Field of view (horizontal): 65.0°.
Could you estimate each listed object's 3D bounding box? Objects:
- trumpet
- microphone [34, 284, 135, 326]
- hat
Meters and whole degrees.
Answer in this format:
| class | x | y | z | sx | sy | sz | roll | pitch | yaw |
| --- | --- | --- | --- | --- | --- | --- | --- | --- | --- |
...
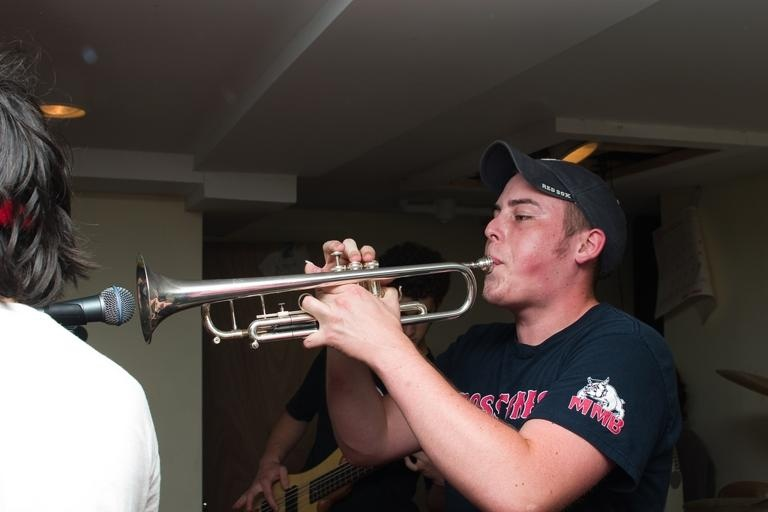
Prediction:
| class | x | y | z | sx | sy | sz | roll | pitch | yaw |
| --- | --- | --- | --- | --- | --- | --- | --- | --- | --- |
| trumpet | -0.167 | 0.131 | 1.840 | 1.086 | 0.334 | 0.321 | -8 | -2 | -8 |
| microphone | -0.599 | 0.115 | 1.158 | 0.062 | 0.072 | 0.218 | 6 | 7 | 33 |
| hat | 0.454 | -0.164 | 1.589 | 0.424 | 0.204 | 0.259 | 41 | -1 | -1 |
